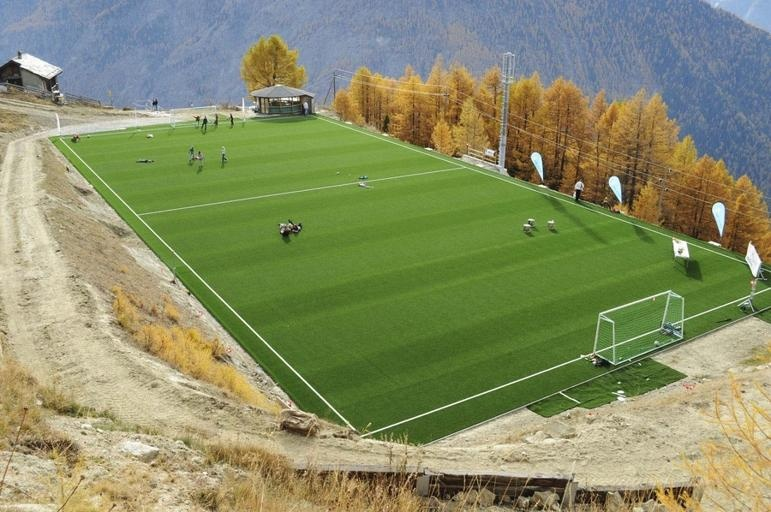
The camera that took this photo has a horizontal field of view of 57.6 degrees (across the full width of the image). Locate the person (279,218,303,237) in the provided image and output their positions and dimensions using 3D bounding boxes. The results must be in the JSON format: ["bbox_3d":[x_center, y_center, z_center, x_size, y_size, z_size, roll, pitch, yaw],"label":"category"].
[{"bbox_3d":[-7.260,-2.071,52.314,1.399,0.559,1.534,-18,28,-39],"label":"person"}]

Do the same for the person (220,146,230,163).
[{"bbox_3d":[-15.611,-9.938,68.864,0.840,0.842,2.221,-8,20,5],"label":"person"}]

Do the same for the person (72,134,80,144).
[{"bbox_3d":[-31.598,-11.961,72.282,1.040,0.409,1.190,-9,38,-16],"label":"person"}]

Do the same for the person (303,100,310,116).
[{"bbox_3d":[-10.045,-19.211,90.395,0.798,1.727,0.358,-2,28,2],"label":"person"}]
